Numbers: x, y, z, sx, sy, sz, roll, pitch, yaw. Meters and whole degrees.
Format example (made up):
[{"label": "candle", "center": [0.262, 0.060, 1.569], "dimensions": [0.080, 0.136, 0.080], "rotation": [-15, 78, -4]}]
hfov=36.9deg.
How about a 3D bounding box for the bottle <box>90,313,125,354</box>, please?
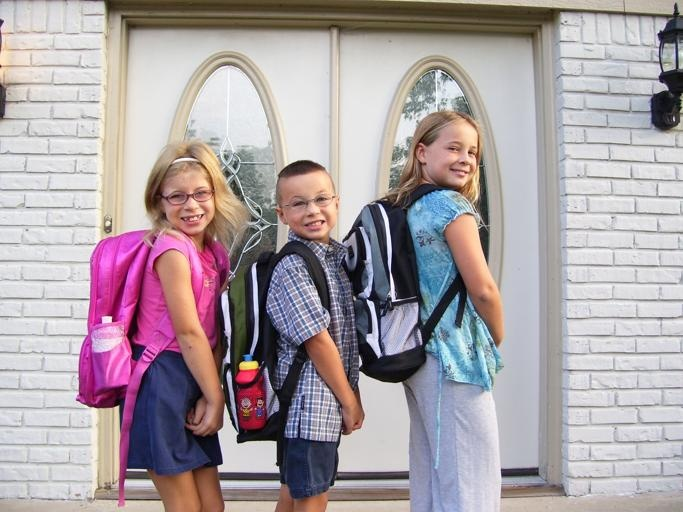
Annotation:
[{"label": "bottle", "center": [-1.146, 0.376, 4.995], "dimensions": [0.147, 0.155, 0.180], "rotation": [2, -15, -16]}]
